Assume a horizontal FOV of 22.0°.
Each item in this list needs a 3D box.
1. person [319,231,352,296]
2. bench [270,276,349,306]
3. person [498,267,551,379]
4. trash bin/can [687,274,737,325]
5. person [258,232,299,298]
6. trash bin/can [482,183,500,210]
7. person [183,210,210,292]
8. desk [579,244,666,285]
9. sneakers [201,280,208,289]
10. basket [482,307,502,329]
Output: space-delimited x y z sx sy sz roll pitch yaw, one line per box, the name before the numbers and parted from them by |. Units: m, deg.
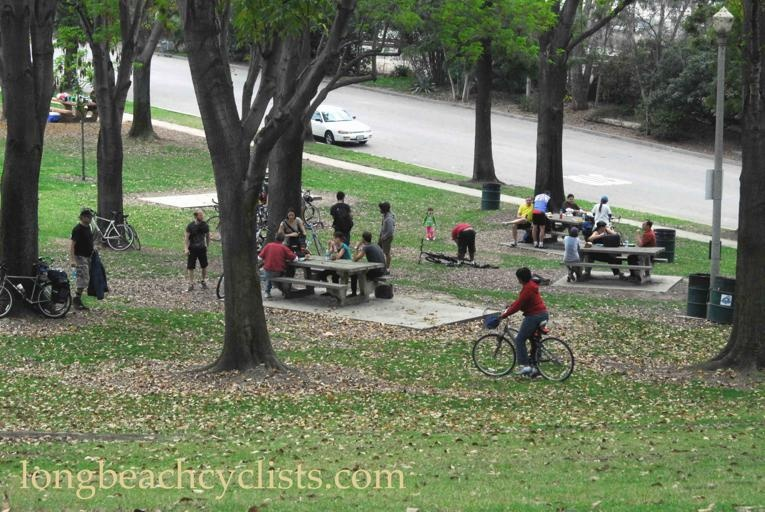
person | -1.578 0.084 65.902 0.815 1.839 0.994 9 0 1
bench | -2.559 0.550 65.422 2.436 0.552 1.000 9 18 29
person | 4.378 1.957 59.800 1.307 3.320 0.672 2 8 -5
trash bin/can | 10.916 1.324 64.000 1.589 1.459 1.555 -1 7 -18
person | -3.580 0.252 65.539 1.085 2.172 0.940 1 9 -11
trash bin/can | 4.298 -2.452 78.015 0.700 1.121 0.754 3 8 1
person | -6.306 -0.294 66.070 0.933 2.586 0.891 2 -1 -5
desk | 8.490 0.007 68.302 2.031 0.670 1.720 7 17 30
sneakers | -6.095 0.891 66.130 0.186 0.121 0.294 14 43 -26
basket | 3.369 1.867 60.271 0.630 0.477 0.629 4 1 4
